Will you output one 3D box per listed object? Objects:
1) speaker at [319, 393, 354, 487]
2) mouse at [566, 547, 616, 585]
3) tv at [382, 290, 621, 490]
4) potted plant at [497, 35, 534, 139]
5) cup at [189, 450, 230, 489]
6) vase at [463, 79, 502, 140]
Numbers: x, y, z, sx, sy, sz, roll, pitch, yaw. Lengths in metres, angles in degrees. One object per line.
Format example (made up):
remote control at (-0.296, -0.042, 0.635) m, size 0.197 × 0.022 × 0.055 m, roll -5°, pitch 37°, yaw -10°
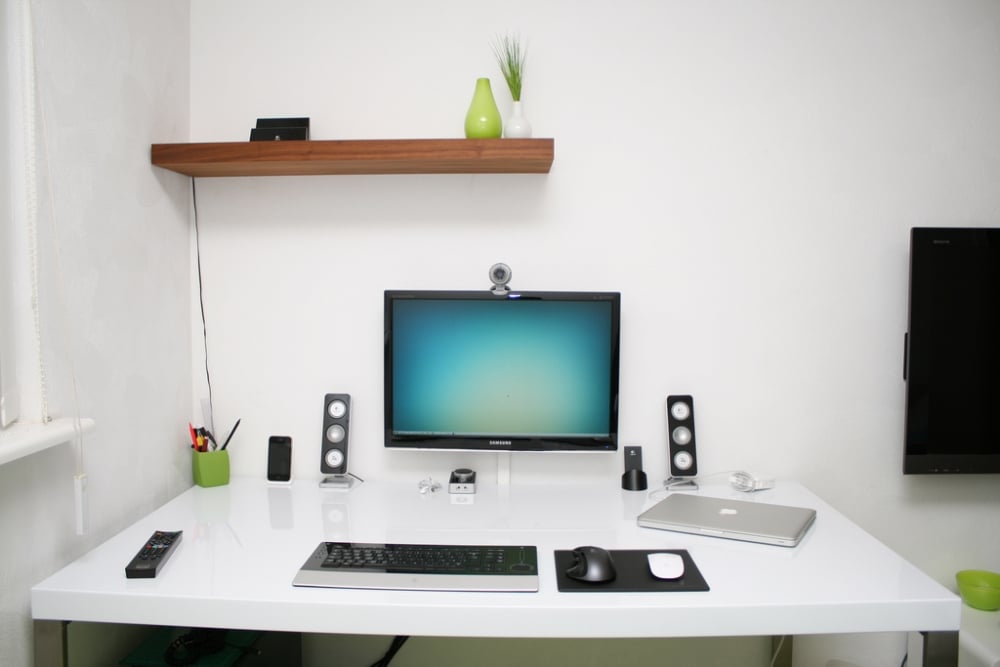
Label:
speaker at (-0.669, 0.422, 3.220) m, size 0.127 × 0.349 × 0.146 m, roll -1°, pitch 6°, yaw -12°
mouse at (0.286, 0.734, 2.554) m, size 0.169 × 0.096 × 0.122 m, roll 2°, pitch 6°, yaw 24°
tv at (0.016, 0.191, 3.108) m, size 0.810 × 0.531 × 0.078 m, roll -1°, pitch 3°, yaw 2°
potted plant at (0.052, -0.964, 3.131) m, size 0.120 × 0.418 × 0.197 m, roll 0°, pitch 6°, yaw -1°
cup at (-1.163, 0.541, 3.188) m, size 0.150 × 0.140 × 0.139 m, roll -1°, pitch -7°, yaw 0°
vase at (-0.065, -0.850, 3.039) m, size 0.144 × 0.252 × 0.143 m, roll 0°, pitch 6°, yaw -1°
